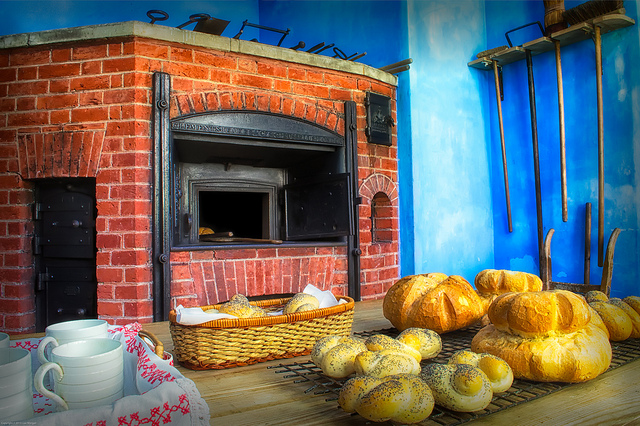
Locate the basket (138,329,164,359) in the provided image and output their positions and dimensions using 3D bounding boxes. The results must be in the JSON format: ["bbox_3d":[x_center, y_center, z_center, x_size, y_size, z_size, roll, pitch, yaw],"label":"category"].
[{"bbox_3d":[-0.410,0.313,1.137,0.046,0.043,0.072,3,-1,-38],"label":"basket"}]

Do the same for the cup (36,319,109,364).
[{"bbox_3d":[-0.587,0.284,1.114,0.144,0.098,0.108,-3,5,-38],"label":"cup"}]

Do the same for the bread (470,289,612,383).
[{"bbox_3d":[0.578,0.294,1.235,0.329,0.196,0.309,-4,7,25],"label":"bread"}]

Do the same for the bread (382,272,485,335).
[{"bbox_3d":[0.344,0.273,1.414,0.293,0.160,0.296,-1,8,13],"label":"bread"}]

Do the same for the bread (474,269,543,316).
[{"bbox_3d":[0.578,0.221,1.434,0.224,0.112,0.212,1,1,-6],"label":"bread"}]

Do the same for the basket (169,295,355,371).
[{"bbox_3d":[-0.147,0.277,1.277,0.415,0.110,0.198,-3,1,-26],"label":"basket"}]

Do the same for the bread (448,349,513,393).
[{"bbox_3d":[0.370,0.346,1.060,0.103,0.035,0.100,12,10,-23],"label":"bread"}]

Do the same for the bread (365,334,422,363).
[{"bbox_3d":[0.166,0.308,1.118,0.091,0.035,0.072,18,-8,-22],"label":"bread"}]

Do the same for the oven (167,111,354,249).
[{"bbox_3d":[-0.413,-0.190,3.186,1.181,0.809,0.762,-1,-2,-18],"label":"oven"}]

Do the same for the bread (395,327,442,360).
[{"bbox_3d":[0.248,0.309,1.164,0.086,0.047,0.085,2,-1,-33],"label":"bread"}]

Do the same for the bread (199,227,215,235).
[{"bbox_3d":[-0.901,0.135,3.711,0.095,0.062,0.301,-1,-2,-13],"label":"bread"}]

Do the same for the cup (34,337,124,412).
[{"bbox_3d":[-0.535,0.372,1.041,0.144,0.136,0.195,2,3,24],"label":"cup"}]

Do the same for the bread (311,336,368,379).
[{"bbox_3d":[0.043,0.344,1.158,0.132,0.069,0.127,4,12,22],"label":"bread"}]

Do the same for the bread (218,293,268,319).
[{"bbox_3d":[-0.223,0.259,1.307,0.077,0.024,0.082,10,4,-35],"label":"bread"}]
